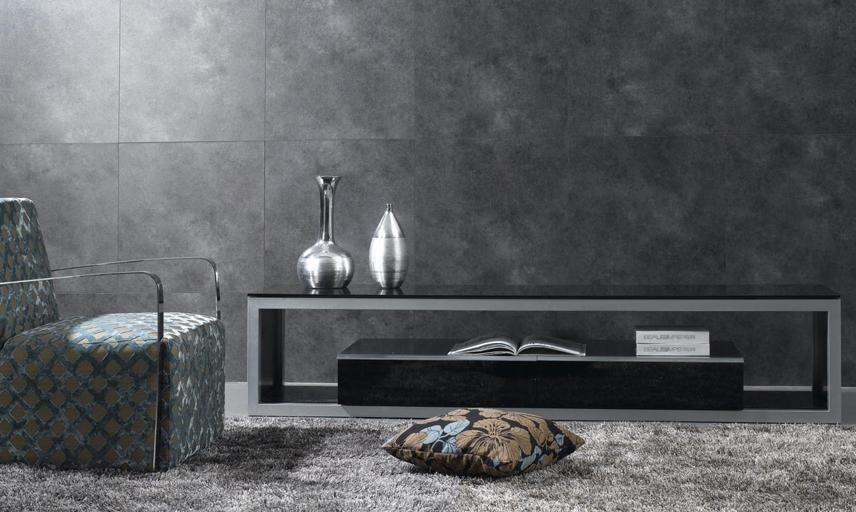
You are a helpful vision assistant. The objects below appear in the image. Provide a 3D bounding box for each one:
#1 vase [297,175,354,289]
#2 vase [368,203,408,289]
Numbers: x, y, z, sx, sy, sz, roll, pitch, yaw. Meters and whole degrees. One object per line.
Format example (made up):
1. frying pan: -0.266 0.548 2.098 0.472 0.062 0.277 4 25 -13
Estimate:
1. vase: -0.645 -0.145 7.515 0.341 0.717 0.203 -1 3 -6
2. vase: -0.244 -0.057 7.562 0.192 0.533 0.201 -3 3 -42
